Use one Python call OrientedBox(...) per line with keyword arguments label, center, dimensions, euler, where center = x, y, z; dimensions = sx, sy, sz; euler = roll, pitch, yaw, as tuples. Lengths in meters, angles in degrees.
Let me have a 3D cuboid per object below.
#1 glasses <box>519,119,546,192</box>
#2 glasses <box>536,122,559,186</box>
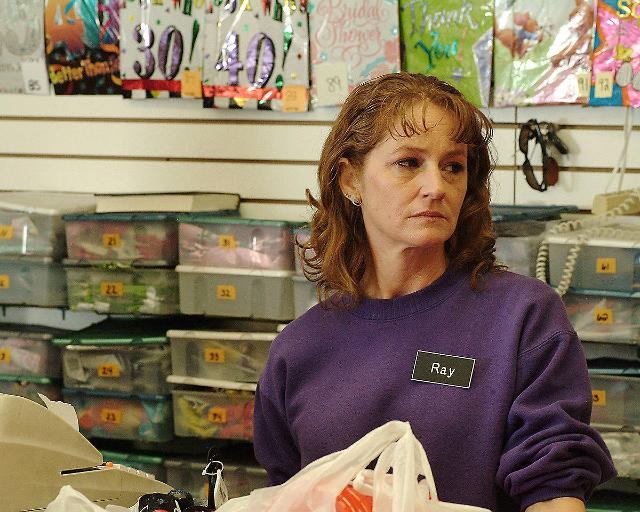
OrientedBox(label="glasses", center=(0.898, -0.432, 2.703), dimensions=(0.046, 0.277, 0.157), euler=(-7, 4, -25))
OrientedBox(label="glasses", center=(0.970, -0.416, 2.697), dimensions=(0.073, 0.275, 0.107), euler=(-2, -5, 36))
